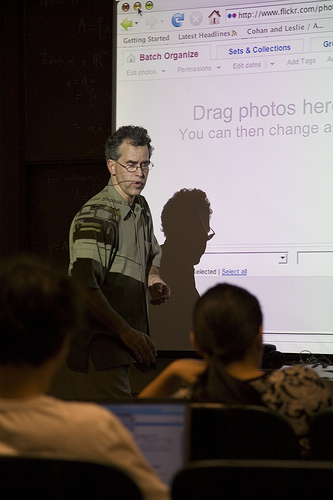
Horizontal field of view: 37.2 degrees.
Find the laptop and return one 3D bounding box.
[{"bbox_3d":[-0.052,0.373,1.090,0.214,0.189,0.164,0,-3,8],"label":"laptop"}]
